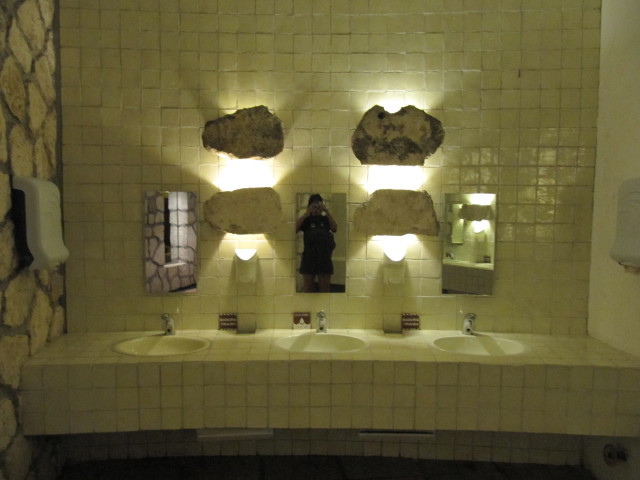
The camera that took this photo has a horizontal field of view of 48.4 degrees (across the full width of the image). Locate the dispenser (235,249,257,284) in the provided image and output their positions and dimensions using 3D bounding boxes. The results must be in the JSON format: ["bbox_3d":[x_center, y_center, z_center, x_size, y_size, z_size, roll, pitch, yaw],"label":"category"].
[{"bbox_3d":[-0.524,0.191,5.066,0.172,0.266,0.153,3,13,10],"label":"dispenser"}]

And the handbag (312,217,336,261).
[{"bbox_3d":[0.022,0.008,5.079,0.241,0.351,0.188,-2,3,-6],"label":"handbag"}]

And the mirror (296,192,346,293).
[{"bbox_3d":[0.001,0.023,5.092,0.349,0.675,0.256,2,-16,4],"label":"mirror"}]

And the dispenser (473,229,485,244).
[{"bbox_3d":[1.125,-0.024,5.065,0.078,0.098,0.046,0,-16,11],"label":"dispenser"}]

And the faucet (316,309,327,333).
[{"bbox_3d":[0.008,0.581,5.083,0.085,0.176,0.121,4,-16,-1],"label":"faucet"}]

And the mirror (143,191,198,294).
[{"bbox_3d":[-1.067,0.015,5.070,0.370,0.688,0.237,3,-16,1],"label":"mirror"}]

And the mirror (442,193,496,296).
[{"bbox_3d":[1.052,0.019,5.088,0.425,0.797,0.008,3,2,39],"label":"mirror"}]

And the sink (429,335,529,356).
[{"bbox_3d":[1.092,0.709,4.926,0.662,0.139,0.227,1,-16,8],"label":"sink"}]

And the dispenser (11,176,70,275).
[{"bbox_3d":[-1.788,-0.105,4.576,0.250,0.597,0.333,0,3,9],"label":"dispenser"}]

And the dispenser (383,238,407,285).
[{"bbox_3d":[0.523,0.143,5.040,0.171,0.335,0.124,2,-16,6],"label":"dispenser"}]

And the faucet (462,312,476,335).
[{"bbox_3d":[1.052,0.595,5.062,0.100,0.162,0.092,-2,-17,19],"label":"faucet"}]

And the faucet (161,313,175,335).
[{"bbox_3d":[-1.074,0.597,5.015,0.105,0.137,0.086,7,-16,-12],"label":"faucet"}]
